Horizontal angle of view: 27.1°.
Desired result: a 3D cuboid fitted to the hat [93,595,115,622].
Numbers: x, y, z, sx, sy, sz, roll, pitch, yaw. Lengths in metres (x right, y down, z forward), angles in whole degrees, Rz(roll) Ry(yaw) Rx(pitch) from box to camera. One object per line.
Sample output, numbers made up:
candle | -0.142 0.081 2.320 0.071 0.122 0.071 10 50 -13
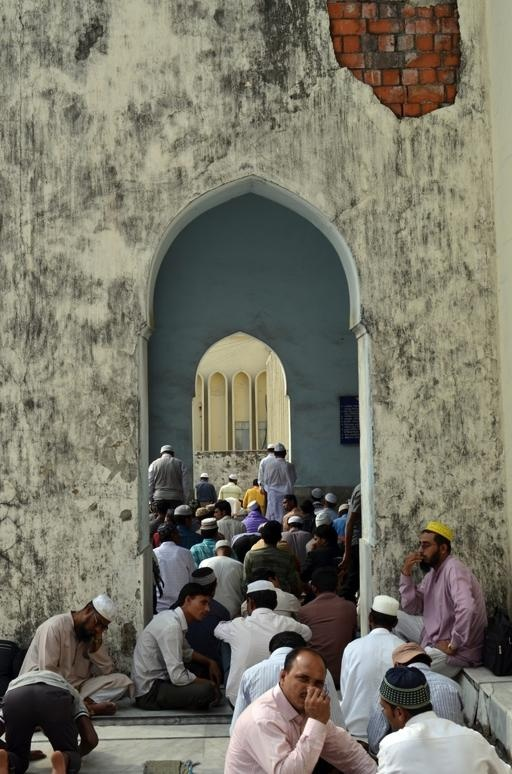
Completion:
hat | -0.764 1.130 5.279 0.068 0.133 0.098 -40 -51 22

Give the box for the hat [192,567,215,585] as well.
hat | -0.301 1.100 5.964 0.088 0.039 0.091 -10 19 -26

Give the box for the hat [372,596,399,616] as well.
hat | 0.629 1.113 5.195 0.141 0.103 0.133 -1 -7 -7

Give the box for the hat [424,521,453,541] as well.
hat | 0.980 0.825 5.684 0.123 0.072 0.124 20 -8 -36

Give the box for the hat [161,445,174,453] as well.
hat | -0.871 0.615 10.359 0.099 0.051 0.152 -1 -10 -2

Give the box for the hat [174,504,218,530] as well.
hat | -0.492 1.092 8.610 0.271 0.154 0.387 -1 -1 5

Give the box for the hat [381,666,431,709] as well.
hat | 0.539 1.121 3.804 0.104 0.096 0.162 -3 8 -8

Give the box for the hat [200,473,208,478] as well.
hat | -0.629 1.090 12.614 0.107 0.063 0.161 0 -7 2

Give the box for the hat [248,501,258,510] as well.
hat | -0.034 1.149 9.754 0.089 0.051 0.093 -32 22 19
